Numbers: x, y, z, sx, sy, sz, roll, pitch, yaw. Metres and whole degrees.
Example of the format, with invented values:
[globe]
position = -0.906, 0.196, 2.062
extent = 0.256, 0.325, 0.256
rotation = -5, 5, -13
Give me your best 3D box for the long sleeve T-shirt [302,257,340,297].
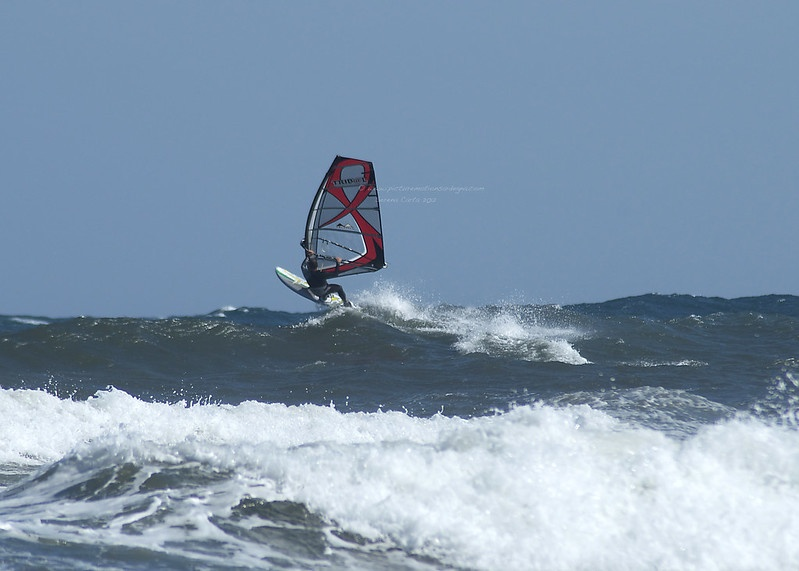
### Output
[long sleeve T-shirt]
position = -1.781, -0.235, 29.729
extent = 0.658, 0.414, 0.717
rotation = 30, -20, 30
